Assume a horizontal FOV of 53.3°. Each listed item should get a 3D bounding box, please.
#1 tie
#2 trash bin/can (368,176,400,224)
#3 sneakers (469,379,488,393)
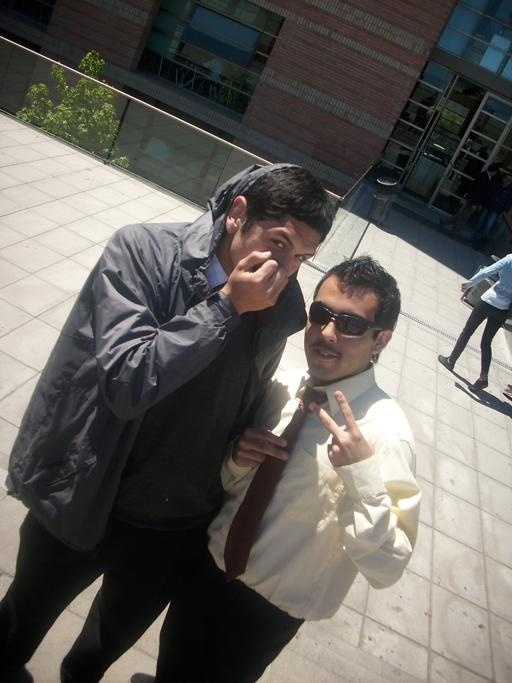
[{"bbox_3d":[0.059,0.390,1.751,0.181,0.836,0.042,29,-24,-5],"label":"tie"},{"bbox_3d":[3.042,-3.428,12.368,0.655,0.883,1.427,32,18,5],"label":"trash bin/can"},{"bbox_3d":[2.921,0.571,6.796,0.282,0.190,0.146,-8,17,6],"label":"sneakers"}]
